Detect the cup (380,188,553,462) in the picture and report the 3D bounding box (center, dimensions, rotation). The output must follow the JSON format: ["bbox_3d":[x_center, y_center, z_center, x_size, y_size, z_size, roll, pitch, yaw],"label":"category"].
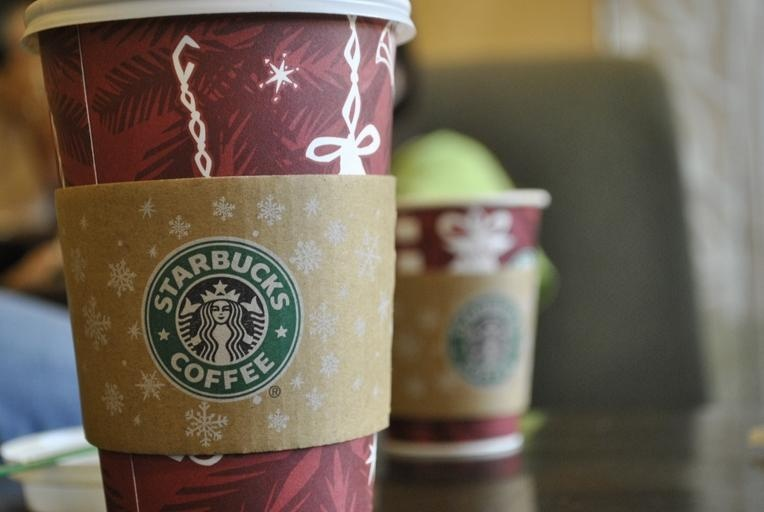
[{"bbox_3d":[0.048,0.067,0.878,0.226,0.259,0.207,0,-4,0],"label":"cup"}]
